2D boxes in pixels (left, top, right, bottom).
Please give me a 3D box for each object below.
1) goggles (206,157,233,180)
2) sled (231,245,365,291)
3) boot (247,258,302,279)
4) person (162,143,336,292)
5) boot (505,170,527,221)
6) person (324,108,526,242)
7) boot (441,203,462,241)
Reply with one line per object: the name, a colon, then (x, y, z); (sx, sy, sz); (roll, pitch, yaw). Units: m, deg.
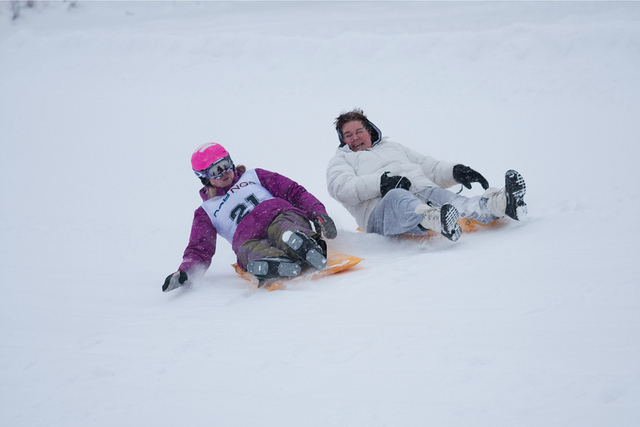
goggles: (-0.639, -0.284, 4.289); (0.190, 0.127, 0.080); (-6, -2, -23)
sled: (-0.002, 0.320, 3.839); (1.050, 0.168, 0.221); (1, -6, -14)
boot: (-0.248, 0.295, 3.800); (0.366, 0.102, 0.151); (2, -1, -5)
person: (-0.408, 0.040, 4.158); (0.786, 0.308, 1.057); (-21, 32, -16)
boot: (1.153, -0.101, 3.979); (0.112, 0.311, 0.133); (-11, 9, -32)
person: (0.595, -0.294, 4.432); (0.846, 0.725, 1.334); (-10, 11, -37)
boot: (0.746, 0.052, 3.912); (0.105, 0.209, 0.096); (-17, 9, -32)
